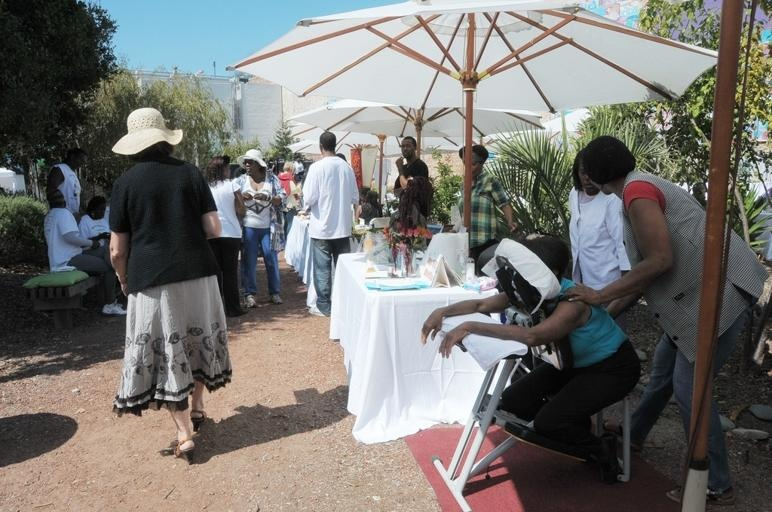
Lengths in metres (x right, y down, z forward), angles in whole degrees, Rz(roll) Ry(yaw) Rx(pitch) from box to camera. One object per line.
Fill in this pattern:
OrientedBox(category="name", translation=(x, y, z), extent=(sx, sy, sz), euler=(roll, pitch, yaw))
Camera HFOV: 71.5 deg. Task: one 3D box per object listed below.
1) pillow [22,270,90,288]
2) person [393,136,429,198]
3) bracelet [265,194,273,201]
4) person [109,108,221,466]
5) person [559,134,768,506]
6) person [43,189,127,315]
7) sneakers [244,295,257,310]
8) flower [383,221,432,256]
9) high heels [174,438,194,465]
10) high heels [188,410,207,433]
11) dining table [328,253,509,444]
OrientedBox(category="pillow", translation=(-4.414, 0.321, 7.149), extent=(0.630, 0.163, 0.540), euler=(-2, 7, -7))
OrientedBox(category="person", translation=(0.355, -1.239, 7.697), extent=(0.437, 0.865, 0.822), euler=(-6, 16, -20))
OrientedBox(category="bracelet", translation=(-1.704, -0.822, 7.724), extent=(0.074, 0.060, 0.077), euler=(0, 6, 23))
OrientedBox(category="person", translation=(-1.761, 0.256, 4.266), extent=(0.892, 2.792, 0.493), euler=(-5, 9, -28))
OrientedBox(category="person", translation=(2.006, 0.454, 3.793), extent=(1.217, 2.582, 0.786), euler=(2, 9, 20))
OrientedBox(category="person", translation=(-4.442, -0.032, 7.816), extent=(0.948, 1.845, 0.757), euler=(-5, -1, -38))
OrientedBox(category="sneakers", translation=(-2.058, 0.717, 8.039), extent=(0.188, 0.200, 0.422), euler=(0, -3, -16))
OrientedBox(category="flower", translation=(0.212, -0.158, 5.014), extent=(0.312, 0.297, 0.324), euler=(6, 3, 7))
OrientedBox(category="high heels", translation=(-1.658, 1.582, 4.354), extent=(0.118, 0.114, 0.280), euler=(-4, 0, -18))
OrientedBox(category="high heels", translation=(-1.680, 1.446, 4.732), extent=(0.085, 0.248, 0.094), euler=(1, 34, -5))
OrientedBox(category="dining table", translation=(0.981, 0.836, 5.325), extent=(1.373, 1.073, 2.316), euler=(-12, -5, 42))
